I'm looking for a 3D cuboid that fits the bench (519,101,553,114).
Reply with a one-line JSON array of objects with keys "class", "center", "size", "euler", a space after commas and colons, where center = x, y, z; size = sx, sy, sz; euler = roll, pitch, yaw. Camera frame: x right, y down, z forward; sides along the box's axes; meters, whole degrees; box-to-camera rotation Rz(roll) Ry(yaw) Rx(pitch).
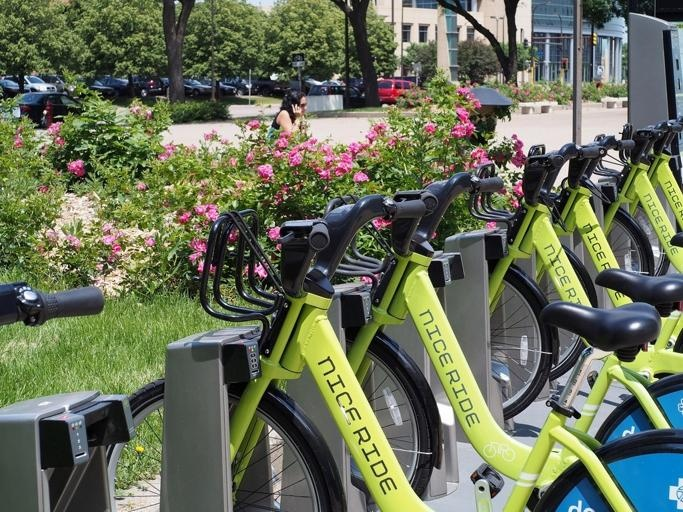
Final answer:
[{"class": "bench", "center": [7.942, -5.982, 37.017], "size": [0.993, 0.535, 2.674], "euler": [3, 16, 22]}]
